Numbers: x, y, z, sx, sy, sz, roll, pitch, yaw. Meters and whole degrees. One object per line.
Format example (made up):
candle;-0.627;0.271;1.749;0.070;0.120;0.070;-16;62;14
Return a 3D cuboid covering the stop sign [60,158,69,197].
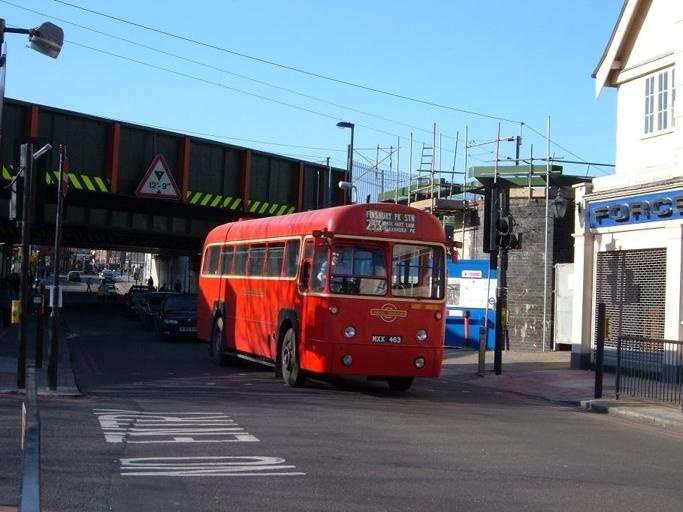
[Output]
stop sign;-5.620;-1.651;15.504;0.095;0.831;1.561;0;-2;-18

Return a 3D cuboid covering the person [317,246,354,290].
person;-0.097;0.252;14.897;0.517;1.006;0.506;13;-7;-11
